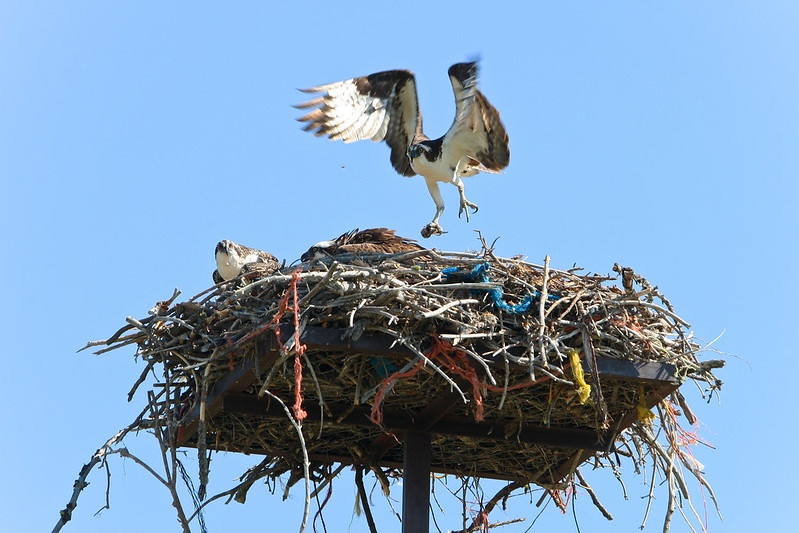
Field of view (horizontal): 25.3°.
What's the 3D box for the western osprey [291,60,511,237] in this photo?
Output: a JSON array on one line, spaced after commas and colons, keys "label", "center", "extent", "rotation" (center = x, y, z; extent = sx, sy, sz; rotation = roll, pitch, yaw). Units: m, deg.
[{"label": "western osprey", "center": [0.653, -1.274, 21.344], "extent": [1.755, 1.797, 3.565], "rotation": [12, -7, -39]}]
